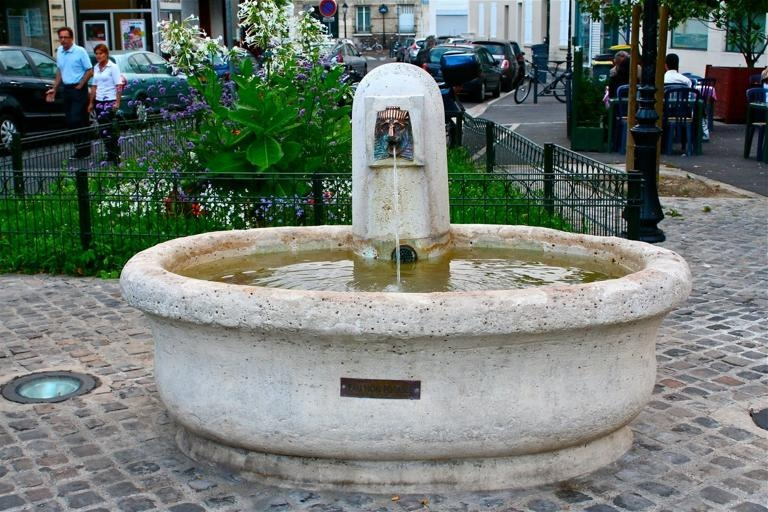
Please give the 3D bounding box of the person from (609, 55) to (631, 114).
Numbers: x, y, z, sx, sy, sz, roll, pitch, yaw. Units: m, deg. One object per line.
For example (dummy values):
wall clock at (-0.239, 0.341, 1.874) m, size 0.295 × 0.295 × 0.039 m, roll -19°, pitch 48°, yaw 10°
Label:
person at (4.369, -3.436, 17.602) m, size 0.346 × 0.892 × 1.039 m, roll 4°, pitch 15°, yaw 11°

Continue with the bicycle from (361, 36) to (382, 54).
bicycle at (-1.006, -18.836, 82.107) m, size 2.385 × 1.521 × 1.197 m, roll 0°, pitch 19°, yaw 5°
